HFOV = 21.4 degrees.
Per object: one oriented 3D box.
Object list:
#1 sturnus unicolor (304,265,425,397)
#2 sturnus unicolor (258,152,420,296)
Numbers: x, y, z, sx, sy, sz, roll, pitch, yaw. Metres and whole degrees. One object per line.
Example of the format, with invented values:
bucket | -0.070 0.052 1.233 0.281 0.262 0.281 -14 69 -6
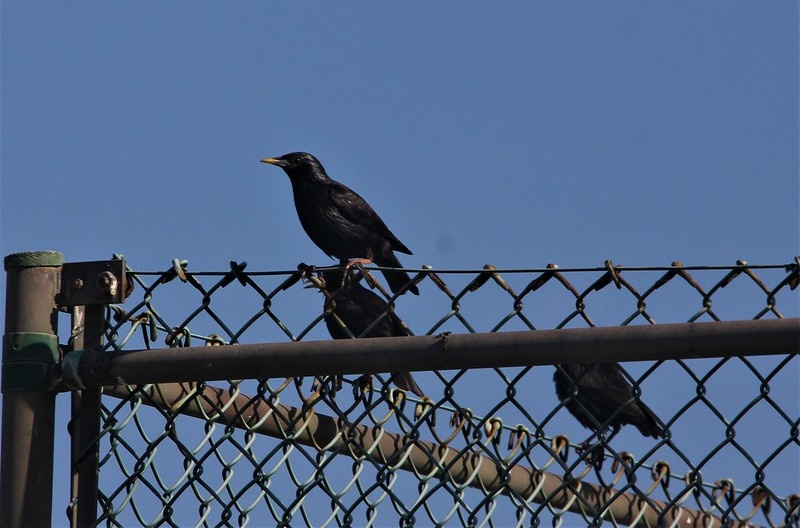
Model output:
sturnus unicolor | -0.163 0.207 9.424 0.634 0.332 0.734 -3 -83 -1
sturnus unicolor | -0.296 -0.216 11.807 0.998 0.649 0.367 18 -28 -39
